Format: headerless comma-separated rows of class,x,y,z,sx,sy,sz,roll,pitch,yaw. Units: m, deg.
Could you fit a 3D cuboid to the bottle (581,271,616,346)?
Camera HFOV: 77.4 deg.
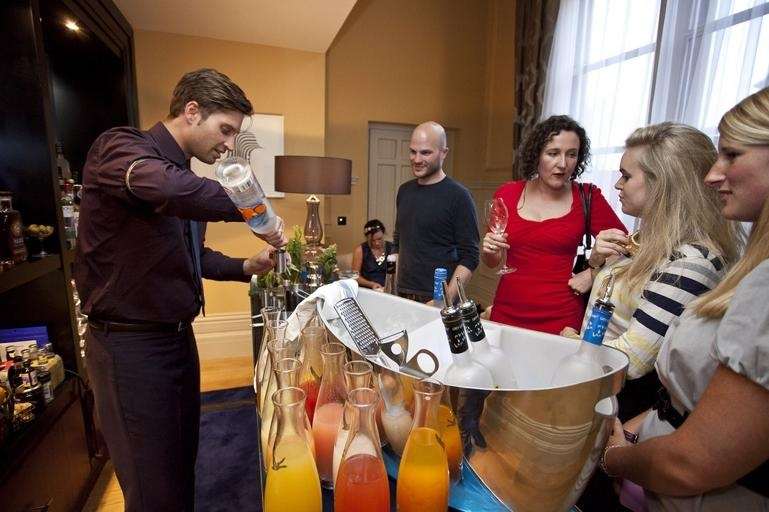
bottle,0.673,0.144,1.503,0.075,0.219,0.289,5,12,25

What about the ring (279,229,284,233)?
ring,-0.420,-0.098,1.959,0.018,0.021,0.020,0,10,0

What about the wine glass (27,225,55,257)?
wine glass,-1.722,-0.084,2.440,0.136,0.168,0.135,-4,12,-40

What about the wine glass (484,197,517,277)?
wine glass,0.629,-0.103,2.555,0.145,0.409,0.273,6,13,29

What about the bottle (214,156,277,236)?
bottle,-0.535,-0.232,1.867,0.188,0.310,0.212,4,12,21

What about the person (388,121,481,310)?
person,0.267,-0.262,2.881,0.601,1.054,0.406,4,12,24

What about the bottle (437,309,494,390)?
bottle,0.239,0.267,1.399,0.144,0.242,0.098,-8,13,-34
